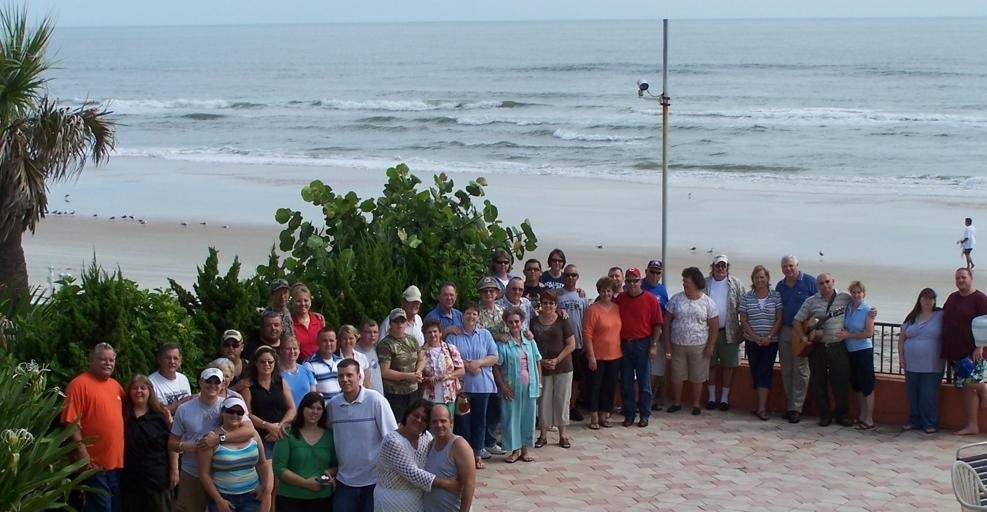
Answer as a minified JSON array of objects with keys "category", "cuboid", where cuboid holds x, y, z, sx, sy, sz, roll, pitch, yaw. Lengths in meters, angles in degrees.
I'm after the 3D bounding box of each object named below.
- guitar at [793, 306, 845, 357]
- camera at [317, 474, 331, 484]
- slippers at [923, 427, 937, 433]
[{"category":"guitar","cuboid":[8.648,2.092,28.520,0.563,1.101,1.023,-1,0,-41]},{"category":"camera","cuboid":[-3.841,5.132,24.221,0.257,0.166,0.080,-5,0,-7]},{"category":"slippers","cuboid":[11.474,4.610,27.928,0.300,0.096,0.097,10,-12,-3]}]
